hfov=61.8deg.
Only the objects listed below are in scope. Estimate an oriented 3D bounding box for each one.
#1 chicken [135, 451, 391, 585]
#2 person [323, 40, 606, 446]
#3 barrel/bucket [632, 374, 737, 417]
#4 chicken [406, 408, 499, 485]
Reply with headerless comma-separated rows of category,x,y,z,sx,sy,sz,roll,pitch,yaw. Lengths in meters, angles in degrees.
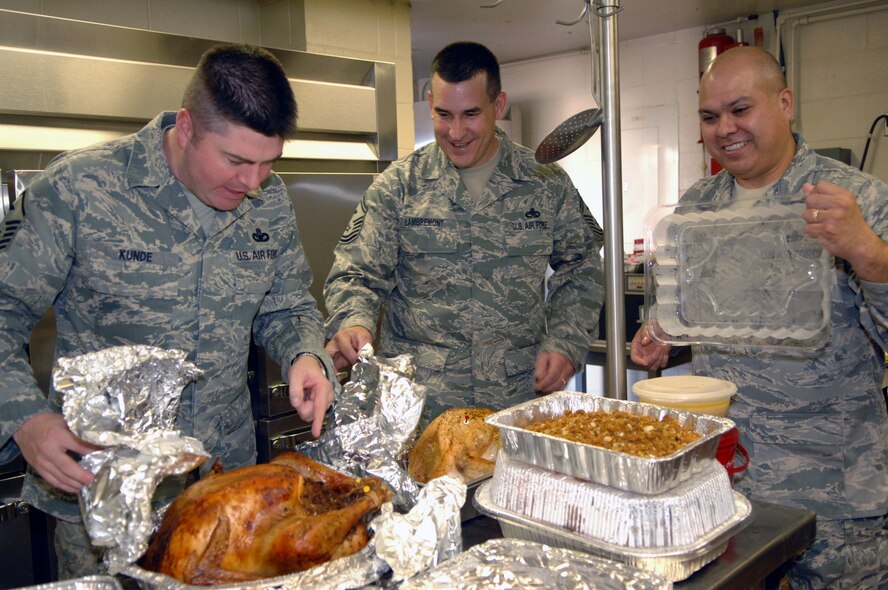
chicken,-0.455,0.583,1.928,0.487,0.151,0.285,-4,11,-17
person,0.111,-0.254,3.001,1.194,1.522,0.597,-3,8,-6
barrel/bucket,0.703,0.310,2.213,0.316,0.100,0.219,-8,10,-39
chicken,0.001,0.489,2.533,0.386,0.231,0.207,-1,15,-31
